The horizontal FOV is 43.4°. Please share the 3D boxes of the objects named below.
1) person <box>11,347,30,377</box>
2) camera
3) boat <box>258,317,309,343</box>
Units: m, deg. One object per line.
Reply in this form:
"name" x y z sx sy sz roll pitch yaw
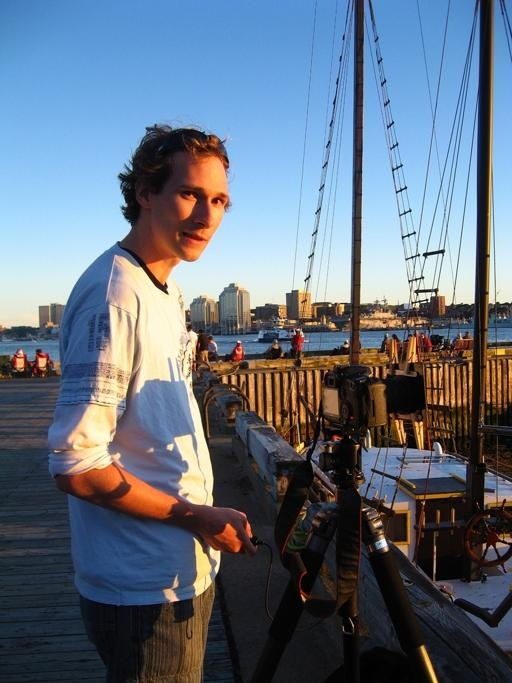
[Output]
"person" -8.624 0.760 23.831 0.618 1.024 1.454 -2 3 -21
"camera" 0.386 0.178 2.216 0.321 0.165 0.268 1 -1 -31
"boat" 2.578 -1.242 86.120 3.316 4.070 9.679 1 1 -32
